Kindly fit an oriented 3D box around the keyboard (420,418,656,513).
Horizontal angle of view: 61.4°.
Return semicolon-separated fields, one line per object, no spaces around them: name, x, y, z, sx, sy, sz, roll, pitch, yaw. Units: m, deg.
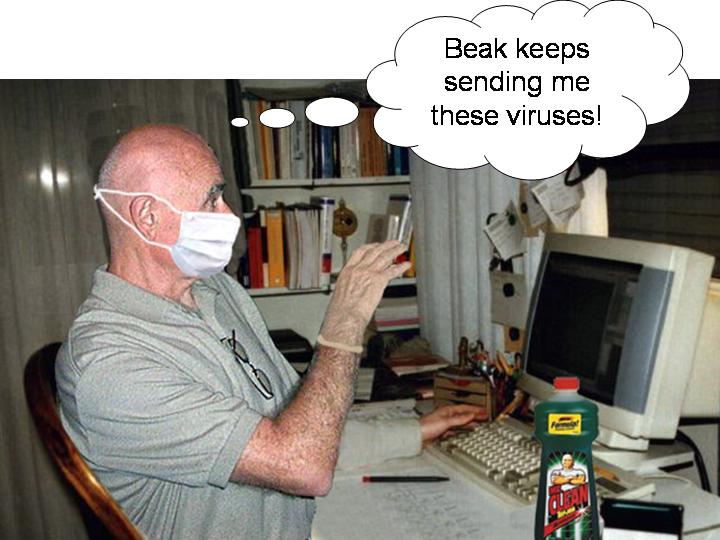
keyboard;0.389;0.442;1.546;0.429;0.136;0.508;2;5;-13

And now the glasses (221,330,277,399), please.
glasses;-0.273;0.244;1.481;0.087;0.187;0.108;4;8;1

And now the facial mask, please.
facial mask;-0.372;-0.068;1.443;0.115;0.161;0.145;2;11;-9
